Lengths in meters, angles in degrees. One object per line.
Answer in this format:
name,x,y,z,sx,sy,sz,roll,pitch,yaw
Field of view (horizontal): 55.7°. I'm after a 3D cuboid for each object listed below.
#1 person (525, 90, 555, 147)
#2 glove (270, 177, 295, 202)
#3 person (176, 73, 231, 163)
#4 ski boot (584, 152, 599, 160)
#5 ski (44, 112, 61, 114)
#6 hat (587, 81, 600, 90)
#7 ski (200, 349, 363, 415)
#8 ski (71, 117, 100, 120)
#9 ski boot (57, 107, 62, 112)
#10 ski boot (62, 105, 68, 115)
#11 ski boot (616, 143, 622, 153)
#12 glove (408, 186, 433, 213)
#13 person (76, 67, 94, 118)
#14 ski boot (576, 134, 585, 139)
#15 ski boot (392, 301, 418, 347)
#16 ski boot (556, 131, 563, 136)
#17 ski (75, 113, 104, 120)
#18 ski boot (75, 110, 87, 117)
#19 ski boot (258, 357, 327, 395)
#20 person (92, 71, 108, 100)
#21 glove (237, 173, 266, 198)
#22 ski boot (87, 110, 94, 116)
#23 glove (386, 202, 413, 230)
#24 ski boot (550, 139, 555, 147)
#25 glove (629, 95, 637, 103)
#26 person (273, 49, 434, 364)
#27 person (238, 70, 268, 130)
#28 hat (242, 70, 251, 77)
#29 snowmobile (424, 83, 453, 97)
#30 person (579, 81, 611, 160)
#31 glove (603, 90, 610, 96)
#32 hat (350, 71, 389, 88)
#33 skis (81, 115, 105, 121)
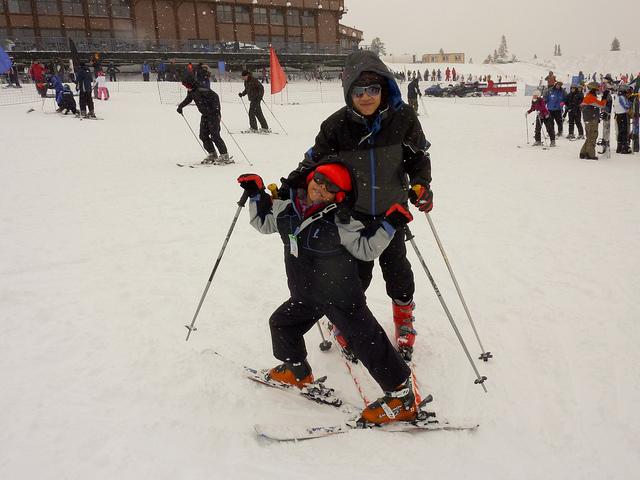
person,5.254,-2.902,14.350,0.601,1.203,0.926,-3,19,-1
glove,-0.328,-0.495,5.731,0.131,0.223,0.263,-15,23,-32
person,-2.280,-2.398,12.031,0.760,1.763,0.558,-4,18,-5
ski boot,5.627,-1.749,12.565,0.308,0.152,0.120,-5,20,-5
ski,-7.331,-3.491,16.591,0.459,0.026,0.196,-3,21,-1
hat,5.792,-3.246,12.832,0.201,0.241,0.304,0,17,-8
ski,-0.368,1.414,5.964,1.595,0.094,0.191,18,57,13
ski,-6.193,-3.223,16.023,0.689,0.070,0.137,2,21,14
ski boot,-7.103,-3.576,16.545,0.119,0.130,0.266,-12,22,-24
ski boot,-6.992,-3.584,16.604,0.212,0.337,0.096,22,18,34
ski boot,6.508,-2.023,13.182,0.084,0.210,0.281,3,21,16
glove,0.989,-0.395,5.820,0.231,0.234,0.096,-44,16,-35
person,-6.205,-3.921,16.005,0.400,1.268,0.877,-10,20,-20
ski boot,6.335,-2.524,14.691,0.184,0.113,0.095,-10,13,-42
ski boot,0.899,0.881,6.401,0.170,0.498,0.559,-2,17,8
ski boot,6.250,-2.794,15.748,0.132,0.090,0.088,-25,17,-31
ski,-6.172,-3.301,16.151,0.646,0.033,0.181,21,14,18
ski boot,-6.355,-3.368,16.147,0.299,0.091,0.220,-7,13,-23
ski boot,-0.268,1.346,5.970,0.476,0.284,0.159,14,29,12
person,-7.516,-5.279,20.749,0.372,0.876,1.675,-9,21,-18
glove,-0.652,-0.534,5.755,0.240,0.200,0.111,20,29,16
ski boot,-6.066,-3.396,16.025,0.163,0.178,0.082,13,26,4
glove,0.729,-0.249,5.597,0.224,0.275,0.404,0,20,7
ski boot,5.464,-2.294,14.228,0.097,0.132,0.290,5,22,20
glove,6.586,-2.982,12.742,0.041,0.172,0.193,-5,20,-8
person,0.380,-0.224,6.169,1.438,3.293,1.044,-5,18,0
person,-1.698,-3.566,15.517,0.630,1.610,1.540,-4,19,-5
hat,-1.802,-4.100,14.762,0.145,0.111,0.147,35,60,23
snowmobile,5.693,-7.303,29.506,1.296,0.784,0.649,-7,58,-15
person,5.729,-2.497,12.722,0.510,1.505,0.975,6,21,24
glove,6.094,-3.130,12.887,0.087,0.081,0.189,10,24,31
hat,0.483,-1.535,5.790,0.385,0.167,0.129,-12,21,-24
skis,-6.077,-3.257,16.132,0.643,0.224,0.102,1,-3,10
